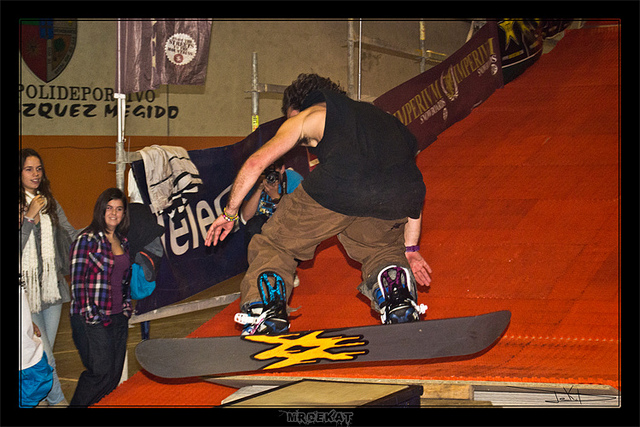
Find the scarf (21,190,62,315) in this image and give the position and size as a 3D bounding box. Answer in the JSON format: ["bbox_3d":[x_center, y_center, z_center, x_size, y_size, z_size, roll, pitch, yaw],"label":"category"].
[{"bbox_3d":[-2.502,0.352,5.569,0.299,1.112,0.217,-2,9,-16],"label":"scarf"}]

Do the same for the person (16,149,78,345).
[{"bbox_3d":[-2.464,0.341,5.621,0.554,1.815,0.299,-6,11,-39],"label":"person"}]

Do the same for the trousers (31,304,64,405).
[{"bbox_3d":[-2.497,1.312,5.746,0.191,0.937,0.416,-1,8,-9],"label":"trousers"}]

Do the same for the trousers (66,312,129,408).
[{"bbox_3d":[-2.053,1.353,5.789,0.530,0.877,0.305,-3,9,-22],"label":"trousers"}]

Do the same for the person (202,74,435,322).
[{"bbox_3d":[0.145,-0.075,5.106,1.575,1.853,0.724,1,8,4],"label":"person"}]

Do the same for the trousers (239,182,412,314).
[{"bbox_3d":[0.071,0.242,5.481,1.191,1.599,0.486,-5,51,-4],"label":"trousers"}]
